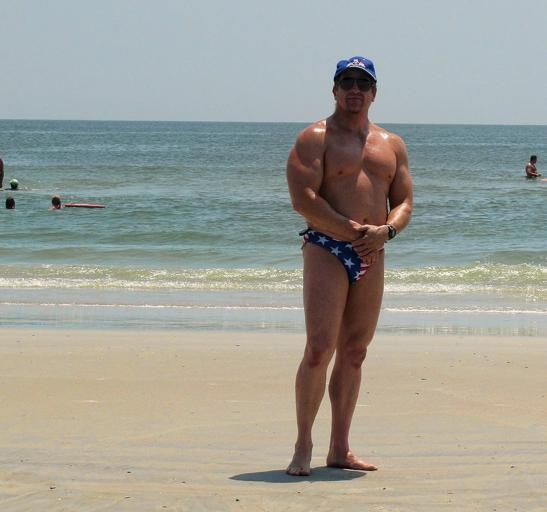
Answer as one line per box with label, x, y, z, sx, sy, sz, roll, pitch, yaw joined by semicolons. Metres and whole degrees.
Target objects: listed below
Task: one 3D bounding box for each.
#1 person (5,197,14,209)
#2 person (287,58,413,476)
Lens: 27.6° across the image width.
person;-6.216;-1.268;26.267;0.224;0.281;1.036;-1;8;-13
person;0.489;0.050;7.224;0.877;2.657;0.664;-1;10;-9
